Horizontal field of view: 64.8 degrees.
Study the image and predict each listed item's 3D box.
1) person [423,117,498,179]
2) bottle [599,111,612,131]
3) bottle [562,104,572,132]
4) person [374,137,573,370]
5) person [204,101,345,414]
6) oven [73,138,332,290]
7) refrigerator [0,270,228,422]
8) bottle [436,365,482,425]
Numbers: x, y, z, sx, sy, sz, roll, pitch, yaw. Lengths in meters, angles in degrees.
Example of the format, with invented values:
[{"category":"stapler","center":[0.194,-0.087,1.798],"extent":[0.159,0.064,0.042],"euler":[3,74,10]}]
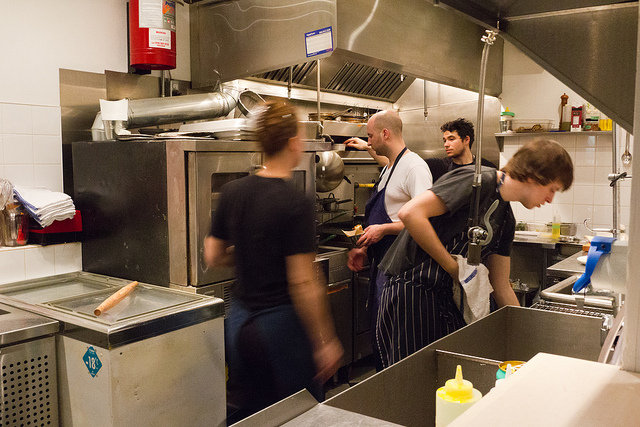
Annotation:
[{"category":"person","center":[1.287,-0.565,4.633],"extent":[0.385,0.582,0.929],"euler":[-3,5,-35]},{"category":"bottle","center":[2.721,-0.878,4.831],"extent":[0.100,0.169,0.244],"euler":[4,9,26]},{"category":"bottle","center":[2.431,-0.938,4.977],"extent":[0.081,0.263,0.085],"euler":[0,8,0]},{"category":"person","center":[0.700,0.268,2.646],"extent":[0.661,1.311,0.834],"euler":[-5,10,-34]},{"category":"person","center":[-0.221,0.222,2.369],"extent":[0.660,1.475,0.266],"euler":[0,8,-1]},{"category":"oven","center":[-0.926,-0.030,3.685],"extent":[1.499,0.929,1.456],"euler":[5,7,43]},{"category":"refrigerator","center":[-1.124,0.332,2.778],"extent":[1.377,0.883,0.751],"euler":[5,8,41]},{"category":"bottle","center":[0.439,0.585,1.601],"extent":[0.127,0.213,0.116],"euler":[1,0,0]}]
